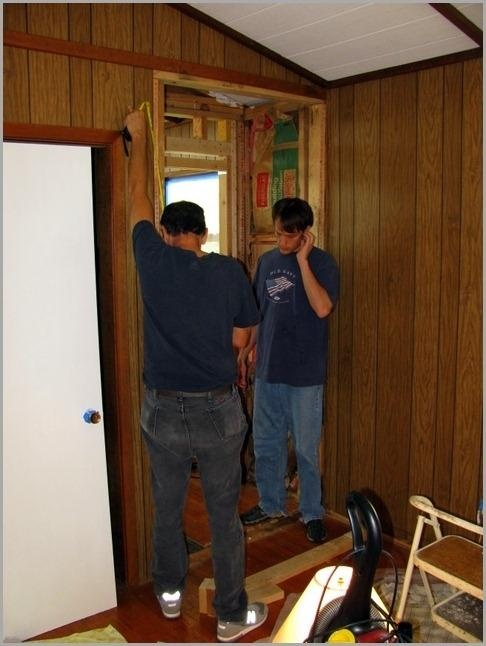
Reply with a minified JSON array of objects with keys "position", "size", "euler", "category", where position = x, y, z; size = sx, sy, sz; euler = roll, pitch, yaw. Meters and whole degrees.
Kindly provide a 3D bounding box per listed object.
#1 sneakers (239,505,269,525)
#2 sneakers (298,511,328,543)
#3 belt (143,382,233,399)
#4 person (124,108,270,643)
[{"position":[0.067,1.120,2.880],"size":[0.170,0.110,0.075],"euler":[2,4,-18],"category":"sneakers"},{"position":[0.389,1.127,2.724],"size":[0.061,0.097,0.203],"euler":[-2,-2,-7],"category":"sneakers"},{"position":[-0.177,0.244,1.757],"size":[0.292,0.034,0.103],"euler":[0,4,-9],"category":"belt"},{"position":[-0.162,0.427,1.832],"size":[0.489,1.596,0.371],"euler":[0,3,3],"category":"person"}]
